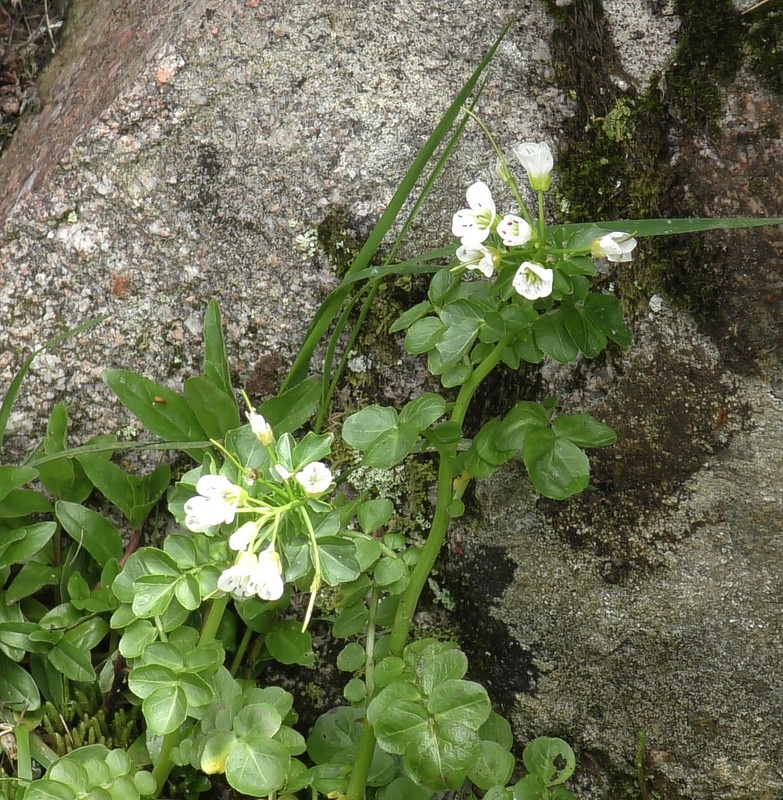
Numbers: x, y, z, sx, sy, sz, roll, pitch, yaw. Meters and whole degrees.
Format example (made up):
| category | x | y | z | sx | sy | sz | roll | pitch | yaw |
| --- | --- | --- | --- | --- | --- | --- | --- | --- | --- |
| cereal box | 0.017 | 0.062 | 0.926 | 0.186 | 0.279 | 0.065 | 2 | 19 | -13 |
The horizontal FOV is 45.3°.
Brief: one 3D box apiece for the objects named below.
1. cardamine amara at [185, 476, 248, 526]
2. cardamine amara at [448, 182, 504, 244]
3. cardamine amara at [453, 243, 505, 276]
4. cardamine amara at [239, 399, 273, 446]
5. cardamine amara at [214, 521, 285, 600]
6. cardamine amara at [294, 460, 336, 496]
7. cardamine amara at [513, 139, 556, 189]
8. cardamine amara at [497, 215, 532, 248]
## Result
| category | x | y | z | sx | sy | sz | roll | pitch | yaw |
| --- | --- | --- | --- | --- | --- | --- | --- | --- | --- |
| cardamine amara | -0.313 | 0.177 | 1.633 | 0.088 | 0.095 | 0.043 | 45 | -6 | -13 |
| cardamine amara | 0.166 | -0.354 | 1.858 | 0.049 | 0.121 | 0.104 | 17 | -29 | -39 |
| cardamine amara | 0.172 | -0.281 | 1.853 | 0.083 | 0.068 | 0.084 | 31 | 6 | 13 |
| cardamine amara | -0.272 | 0.046 | 1.862 | 0.024 | 0.026 | 0.084 | 127 | -57 | -70 |
| cardamine amara | -0.243 | 0.286 | 1.620 | 0.123 | 0.139 | 0.053 | 10 | -7 | 18 |
| cardamine amara | -0.139 | 0.137 | 1.658 | 0.058 | 0.062 | 0.026 | 53 | -1 | 4 |
| cardamine amara | 0.276 | -0.455 | 1.834 | 0.070 | 0.040 | 0.117 | 14 | -23 | 36 |
| cardamine amara | 0.233 | -0.323 | 1.792 | 0.061 | 0.055 | 0.028 | 30 | 12 | 13 |
